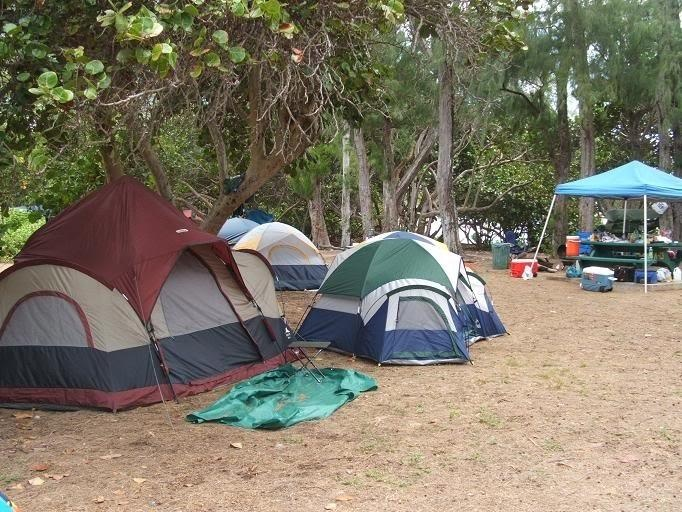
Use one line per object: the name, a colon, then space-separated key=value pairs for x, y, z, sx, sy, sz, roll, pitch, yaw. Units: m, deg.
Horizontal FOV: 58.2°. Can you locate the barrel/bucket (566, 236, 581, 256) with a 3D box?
barrel/bucket: x=6.578 y=-0.263 z=17.387 sx=0.355 sy=0.581 sz=0.397 roll=3 pitch=10 yaw=21

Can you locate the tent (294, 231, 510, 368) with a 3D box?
tent: x=0.752 y=0.663 z=9.268 sx=2.445 sy=1.735 sz=1.260 roll=5 pitch=11 yaw=30

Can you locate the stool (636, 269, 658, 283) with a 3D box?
stool: x=7.874 y=0.550 z=15.876 sx=0.459 sy=0.305 sz=0.369 roll=-2 pitch=-5 yaw=39

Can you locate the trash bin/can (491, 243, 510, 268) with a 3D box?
trash bin/can: x=5.050 y=0.026 z=19.553 sx=0.771 sy=0.756 sz=0.698 roll=0 pitch=-1 yaw=-44

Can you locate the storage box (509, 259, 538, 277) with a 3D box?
storage box: x=5.157 y=0.317 z=17.414 sx=0.581 sy=0.350 sz=0.573 roll=-2 pitch=3 yaw=0

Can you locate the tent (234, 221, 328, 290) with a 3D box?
tent: x=-1.451 y=0.008 z=15.109 sx=1.942 sy=0.934 sz=1.881 roll=3 pitch=8 yaw=6

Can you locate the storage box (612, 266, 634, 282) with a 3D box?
storage box: x=7.661 y=0.481 z=16.673 sx=0.453 sy=0.430 sz=0.452 roll=2 pitch=2 yaw=15

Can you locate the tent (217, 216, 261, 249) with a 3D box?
tent: x=-2.822 y=-0.702 z=16.941 sx=1.075 sy=0.500 sz=1.189 roll=-2 pitch=15 yaw=-2

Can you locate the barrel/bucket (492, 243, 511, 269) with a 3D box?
barrel/bucket: x=5.085 y=0.017 z=19.514 sx=0.715 sy=0.789 sz=0.804 roll=-2 pitch=2 yaw=18

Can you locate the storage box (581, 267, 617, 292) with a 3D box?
storage box: x=6.230 y=0.595 z=14.958 sx=0.749 sy=0.509 sz=0.507 roll=0 pitch=3 yaw=42

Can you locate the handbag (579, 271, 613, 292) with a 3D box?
handbag: x=6.190 y=0.669 z=14.930 sx=0.667 sy=0.377 sz=0.434 roll=-2 pitch=0 yaw=42

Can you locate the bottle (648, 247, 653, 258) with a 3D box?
bottle: x=8.083 y=-0.114 z=16.057 sx=0.117 sy=0.320 sz=0.373 roll=5 pitch=11 yaw=30
